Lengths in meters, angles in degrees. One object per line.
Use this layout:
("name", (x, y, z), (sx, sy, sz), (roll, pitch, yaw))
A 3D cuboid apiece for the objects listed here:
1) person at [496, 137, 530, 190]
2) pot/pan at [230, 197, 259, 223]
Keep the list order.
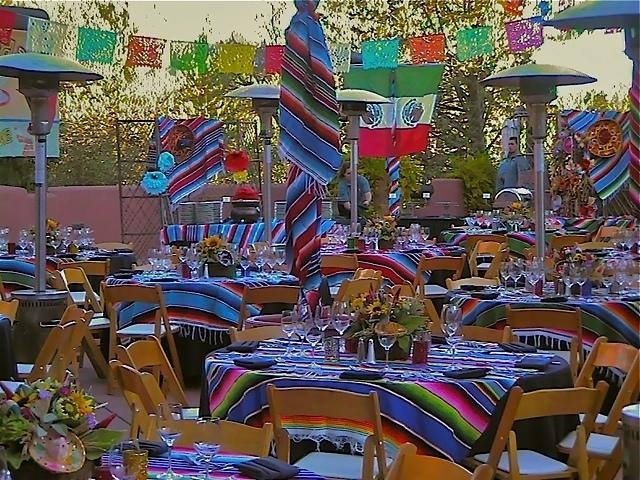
("person", (3.288, -1.282, 14.524), (0.315, 0.887, 0.710), (0, 3, -28))
("pot/pan", (-1.121, -0.447, 13.009), (0.330, 0.352, 0.373), (0, 1, 3))
